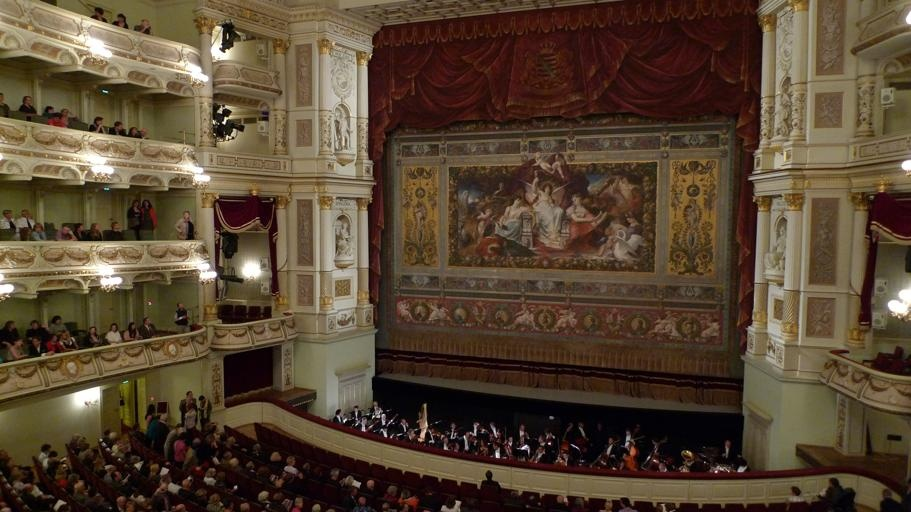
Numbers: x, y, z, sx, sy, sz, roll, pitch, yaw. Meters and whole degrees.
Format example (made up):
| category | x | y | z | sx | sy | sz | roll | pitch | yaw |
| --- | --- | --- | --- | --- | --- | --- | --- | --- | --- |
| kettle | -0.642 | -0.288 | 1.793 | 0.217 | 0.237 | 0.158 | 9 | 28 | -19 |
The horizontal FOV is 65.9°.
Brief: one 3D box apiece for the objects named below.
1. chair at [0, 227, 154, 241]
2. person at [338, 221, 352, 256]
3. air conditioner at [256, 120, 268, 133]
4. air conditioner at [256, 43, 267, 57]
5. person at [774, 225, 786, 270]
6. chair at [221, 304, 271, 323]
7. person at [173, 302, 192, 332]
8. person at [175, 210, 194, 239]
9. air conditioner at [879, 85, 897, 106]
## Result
| category | x | y | z | sx | sy | sz | roll | pitch | yaw |
| --- | --- | --- | --- | --- | --- | --- | --- | --- | --- |
| chair | -14.906 | -0.841 | 30.130 | 4.190 | 0.577 | 0.299 | 0 | -3 | -37 |
| person | -5.460 | -0.856 | 34.723 | 0.342 | 1.720 | 0.810 | 1 | 3 | 20 |
| air conditioner | -9.423 | -6.340 | 34.533 | 0.684 | 0.634 | 0.368 | -1 | -3 | 37 |
| air conditioner | -9.340 | -9.923 | 34.140 | 0.395 | 0.557 | 0.534 | -1 | 3 | -22 |
| person | 13.636 | -0.435 | 29.574 | 0.348 | 2.044 | 0.598 | 0 | 3 | 14 |
| chair | -10.266 | 2.784 | 34.169 | 2.949 | 0.668 | 1.548 | 0 | 2 | 19 |
| person | -12.088 | 2.719 | 31.398 | 0.581 | 1.220 | 0.964 | -1 | 3 | -19 |
| person | -11.984 | -1.358 | 31.499 | 0.586 | 1.282 | 0.844 | 2 | 4 | 42 |
| air conditioner | 16.968 | -6.216 | 27.667 | 0.412 | 0.760 | 0.543 | 2 | 4 | 45 |
